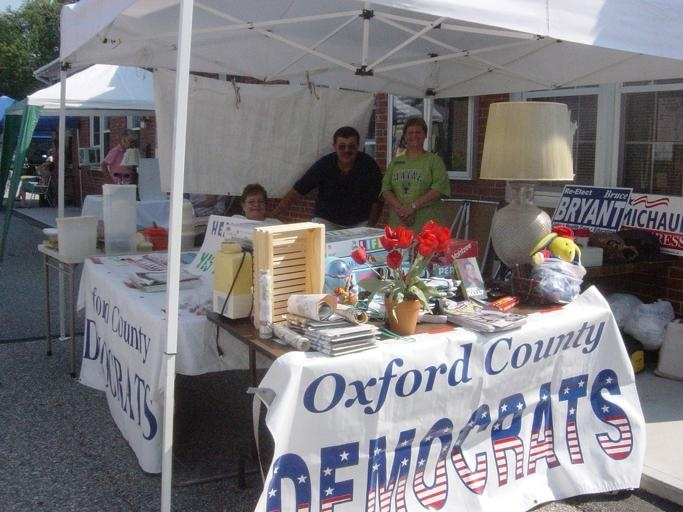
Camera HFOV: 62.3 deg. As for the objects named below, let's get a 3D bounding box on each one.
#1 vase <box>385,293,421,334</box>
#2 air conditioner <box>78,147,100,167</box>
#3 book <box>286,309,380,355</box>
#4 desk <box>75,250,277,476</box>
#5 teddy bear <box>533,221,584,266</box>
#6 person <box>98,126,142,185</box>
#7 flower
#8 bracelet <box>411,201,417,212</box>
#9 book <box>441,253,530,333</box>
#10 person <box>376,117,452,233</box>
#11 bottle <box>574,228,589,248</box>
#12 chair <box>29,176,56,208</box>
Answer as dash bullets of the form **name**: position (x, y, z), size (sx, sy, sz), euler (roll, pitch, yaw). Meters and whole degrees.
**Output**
- **vase**: position (0.319, 0.295, 2.933), size (0.179, 0.151, 0.187), euler (0, 2, -2)
- **air conditioner**: position (-8.776, -3.468, 19.714), size (0.466, 0.631, 0.844), euler (-10, 17, -43)
- **book**: position (-0.056, 0.366, 2.740), size (0.199, 0.070, 0.269), euler (-6, 12, -37)
- **desk**: position (-1.117, 0.628, 3.788), size (1.108, 0.998, 1.921), euler (-1, 8, -32)
- **teddy bear**: position (1.381, -0.066, 3.619), size (0.247, 0.282, 0.161), euler (21, -7, -36)
- **person**: position (-3.760, -1.650, 9.590), size (0.590, 0.956, 1.042), euler (-8, 15, -22)
- **flower**: position (0.314, -0.008, 3.070), size (0.480, 0.649, 0.576), euler (1, 11, 4)
- **bracelet**: position (0.682, -0.465, 5.319), size (0.040, 0.077, 0.070), euler (-3, -12, 8)
- **book**: position (0.734, 0.203, 3.096), size (0.286, 0.142, 0.381), euler (-8, 17, -23)
- **person**: position (0.689, -0.777, 5.402), size (0.665, 1.049, 0.371), euler (2, 14, 17)
- **bottle**: position (1.931, -0.144, 4.580), size (0.115, 0.157, 0.156), euler (0, 0, -4)
- **chair**: position (-10.748, -2.392, 20.576), size (0.703, 1.104, 1.784), euler (-11, 17, -29)
